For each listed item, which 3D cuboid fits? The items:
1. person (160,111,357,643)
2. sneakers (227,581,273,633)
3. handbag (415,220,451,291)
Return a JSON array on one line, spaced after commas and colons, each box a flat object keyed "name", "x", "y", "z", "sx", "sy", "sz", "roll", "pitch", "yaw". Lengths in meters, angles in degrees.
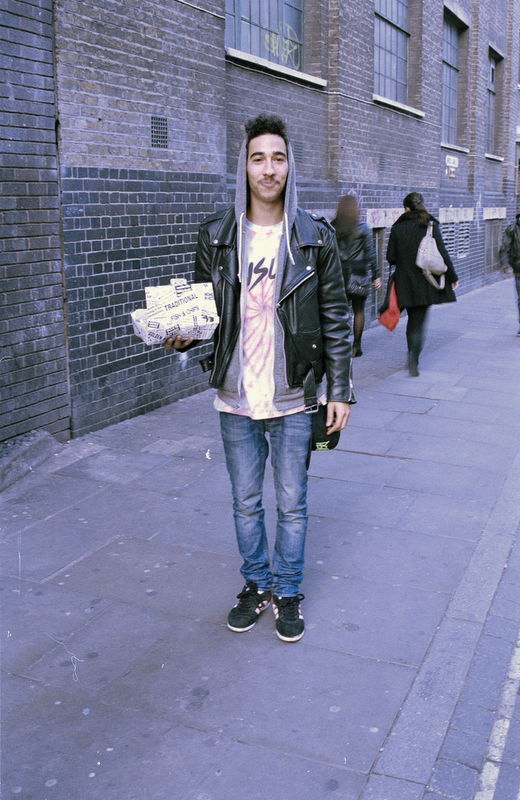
[{"name": "person", "x": 0.054, "y": -0.053, "z": 2.650, "sx": 0.625, "sy": 2.051, "sz": 0.330, "roll": 0, "pitch": 9, "yaw": -4}, {"name": "sneakers", "x": -0.045, "y": 0.888, "z": 2.861, "sx": 0.092, "sy": 0.115, "sz": 0.250, "roll": 13, "pitch": 16, "yaw": 19}, {"name": "handbag", "x": 2.144, "y": -1.782, "z": 8.270, "sx": 0.376, "sy": 0.802, "sz": 0.306, "roll": 3, "pitch": 10, "yaw": 15}]
